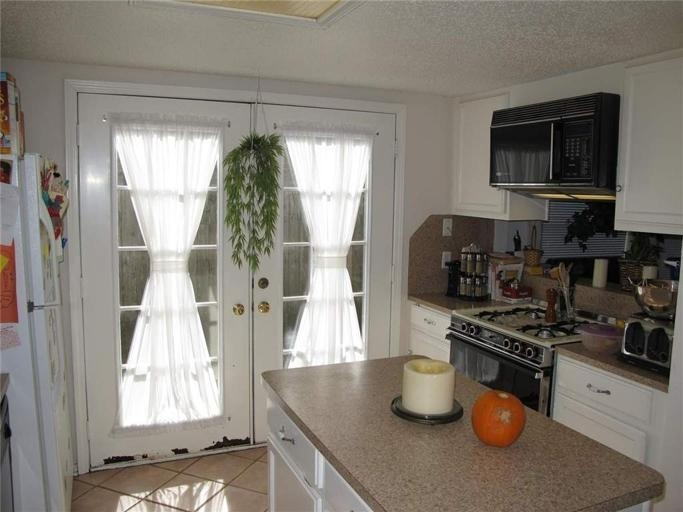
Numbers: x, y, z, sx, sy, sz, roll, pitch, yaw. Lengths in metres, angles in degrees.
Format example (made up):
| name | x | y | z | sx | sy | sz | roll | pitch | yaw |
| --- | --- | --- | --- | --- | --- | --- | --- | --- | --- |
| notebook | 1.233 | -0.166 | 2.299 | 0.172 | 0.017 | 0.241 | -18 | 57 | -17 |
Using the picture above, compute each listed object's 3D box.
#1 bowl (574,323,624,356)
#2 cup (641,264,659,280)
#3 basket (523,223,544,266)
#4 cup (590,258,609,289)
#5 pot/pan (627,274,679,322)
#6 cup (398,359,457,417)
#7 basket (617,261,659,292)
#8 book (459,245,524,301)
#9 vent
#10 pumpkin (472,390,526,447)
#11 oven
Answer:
| name | x | y | z | sx | sy | sz | roll | pitch | yaw |
| --- | --- | --- | --- | --- | --- | --- | --- | --- | --- |
| bowl | 1.540 | 0.483 | 2.898 | 0.157 | 0.104 | 0.178 | -1 | 2 | 15 |
| cup | 2.040 | 0.107 | 3.222 | 0.095 | 0.117 | 0.099 | 0 | -2 | 0 |
| basket | 1.573 | -0.096 | 3.981 | 0.140 | 0.354 | 0.109 | 8 | 12 | 36 |
| cup | 1.861 | 0.122 | 3.498 | 0.092 | 0.201 | 0.105 | 5 | 11 | 23 |
| pot/pan | 1.765 | 0.247 | 2.759 | 0.237 | 0.175 | 0.229 | 2 | 6 | 12 |
| cup | 0.338 | 0.509 | 1.915 | 0.212 | 0.166 | 0.213 | -1 | 6 | 0 |
| basket | 2.043 | 0.137 | 3.362 | 0.186 | 0.149 | 0.194 | 2 | 1 | -1 |
| book | 1.196 | 0.109 | 4.073 | 0.477 | 0.505 | 0.406 | -2 | 4 | -26 |
| vent | 1.358 | -0.705 | 3.104 | 0.249 | 0.619 | 0.779 | -1 | 2 | -24 |
| pumpkin | 0.566 | 0.583 | 1.744 | 0.195 | 0.194 | 0.195 | 2 | 5 | -9 |
| oven | 1.034 | 0.569 | 3.257 | 0.354 | 0.699 | 0.700 | -1 | 6 | -25 |
